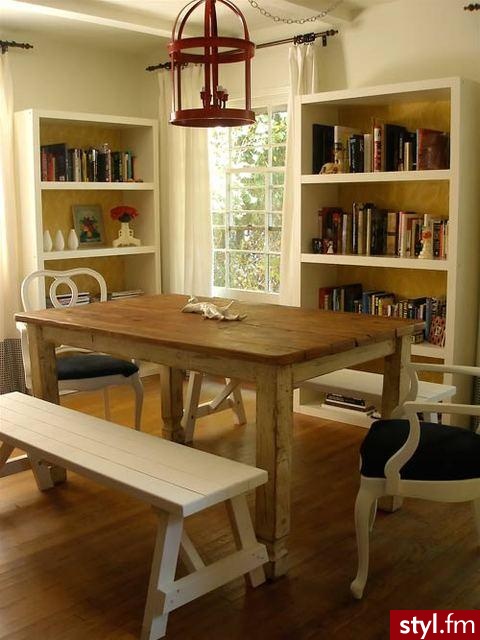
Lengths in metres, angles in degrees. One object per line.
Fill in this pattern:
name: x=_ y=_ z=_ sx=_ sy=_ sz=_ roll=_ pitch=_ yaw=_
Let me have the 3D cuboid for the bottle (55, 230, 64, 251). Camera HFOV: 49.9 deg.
bottle: x=-1.365 y=-0.596 z=3.878 sx=0.059 sy=0.169 sz=0.201 roll=-2 pitch=4 yaw=-19

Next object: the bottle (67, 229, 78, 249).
bottle: x=-1.313 y=-0.630 z=4.023 sx=0.072 sy=0.183 sz=0.275 roll=-2 pitch=4 yaw=-18

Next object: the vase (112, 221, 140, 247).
vase: x=-0.949 y=-0.721 z=4.344 sx=0.233 sy=0.196 sz=0.228 roll=-4 pitch=8 yaw=-41

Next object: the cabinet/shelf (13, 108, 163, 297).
cabinet/shelf: x=-1.183 y=-1.233 z=4.057 sx=1.079 sy=1.640 sz=0.346 roll=-15 pitch=30 yaw=-41

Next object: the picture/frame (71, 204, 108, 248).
picture/frame: x=-1.290 y=-0.794 z=4.350 sx=0.034 sy=0.446 sz=0.396 roll=-3 pitch=9 yaw=37

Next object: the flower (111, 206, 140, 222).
flower: x=-0.932 y=-0.838 z=4.105 sx=0.164 sy=0.093 sz=0.161 roll=-4 pitch=8 yaw=-16
